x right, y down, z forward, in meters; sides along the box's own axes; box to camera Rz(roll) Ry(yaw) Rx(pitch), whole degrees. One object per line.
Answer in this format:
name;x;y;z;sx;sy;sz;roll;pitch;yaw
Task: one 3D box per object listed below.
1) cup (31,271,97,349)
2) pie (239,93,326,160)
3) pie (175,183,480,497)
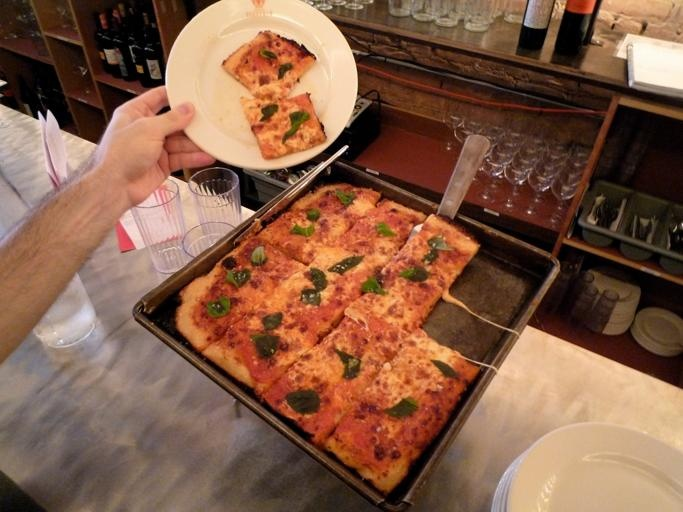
cup;-0.951;0.194;1.608;0.123;0.139;0.213;-13;22;3
pie;-0.230;-0.529;1.855;0.279;0.147;0.288;-15;48;-14
pie;0.038;0.176;1.770;1.009;0.212;1.020;31;54;26
